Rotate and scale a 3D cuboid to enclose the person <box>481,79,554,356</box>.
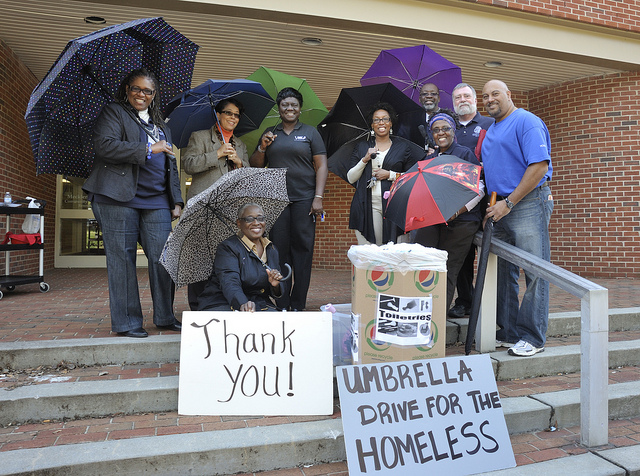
[{"bbox_3d":[1.809,-0.200,4.981,0.634,2.562,0.567,1,4,22],"label":"person"}]

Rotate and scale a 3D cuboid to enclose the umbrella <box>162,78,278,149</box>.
[{"bbox_3d":[-1.160,-1.423,5.902,1.244,0.749,1.246,-13,18,-32],"label":"umbrella"}]

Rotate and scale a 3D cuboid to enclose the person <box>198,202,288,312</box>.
[{"bbox_3d":[-0.650,0.278,4.863,0.826,1.102,1.048,4,5,-12],"label":"person"}]

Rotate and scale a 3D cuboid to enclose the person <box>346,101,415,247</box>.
[{"bbox_3d":[0.617,-0.684,5.626,0.679,1.478,0.419,1,5,31],"label":"person"}]

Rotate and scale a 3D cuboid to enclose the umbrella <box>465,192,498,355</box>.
[{"bbox_3d":[1.483,0.319,4.950,0.375,1.487,0.276,-1,4,-6],"label":"umbrella"}]

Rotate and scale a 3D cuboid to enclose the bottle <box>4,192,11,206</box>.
[{"bbox_3d":[-4.147,-0.525,7.132,0.073,0.175,0.508,-3,5,-30],"label":"bottle"}]

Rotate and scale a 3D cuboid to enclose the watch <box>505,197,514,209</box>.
[{"bbox_3d":[1.706,-0.313,4.819,0.057,0.086,0.082,-28,11,1],"label":"watch"}]

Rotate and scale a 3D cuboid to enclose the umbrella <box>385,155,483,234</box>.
[{"bbox_3d":[0.971,-0.381,4.774,0.696,0.691,0.245,31,-11,50],"label":"umbrella"}]

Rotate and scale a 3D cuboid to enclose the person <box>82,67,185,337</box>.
[{"bbox_3d":[-1.735,-0.343,5.052,0.876,2.482,0.481,-3,4,-24],"label":"person"}]
